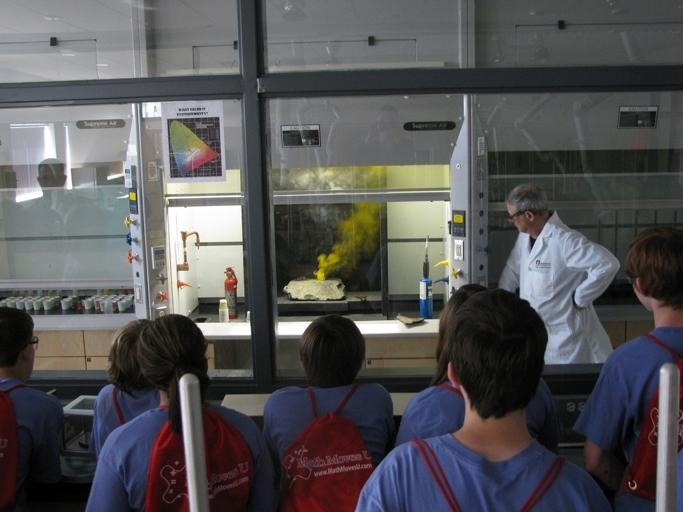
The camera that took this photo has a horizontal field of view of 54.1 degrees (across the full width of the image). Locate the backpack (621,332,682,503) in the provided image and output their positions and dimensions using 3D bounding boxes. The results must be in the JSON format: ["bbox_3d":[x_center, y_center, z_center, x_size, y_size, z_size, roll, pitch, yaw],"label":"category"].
[{"bbox_3d":[1.050,0.556,2.358,0.249,0.613,0.085,6,-3,-13],"label":"backpack"}]

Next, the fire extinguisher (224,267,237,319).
[{"bbox_3d":[-0.646,0.212,3.928,0.078,0.289,0.195,-2,2,-10],"label":"fire extinguisher"}]

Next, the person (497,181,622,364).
[{"bbox_3d":[1.245,0.252,3.918,0.639,1.367,0.464,3,22,27],"label":"person"}]
